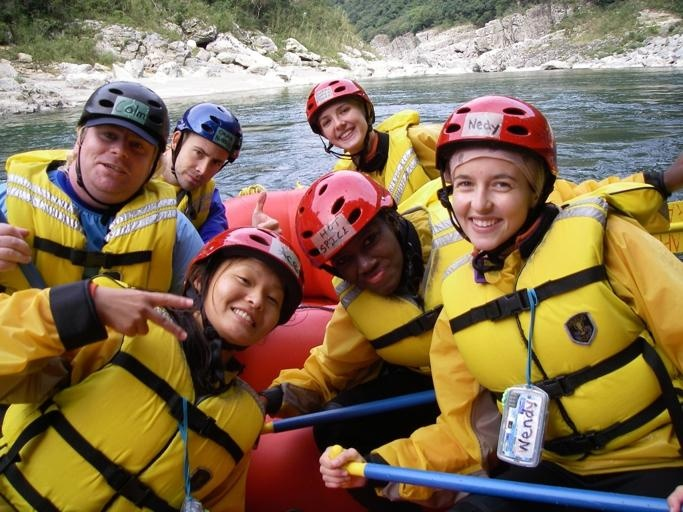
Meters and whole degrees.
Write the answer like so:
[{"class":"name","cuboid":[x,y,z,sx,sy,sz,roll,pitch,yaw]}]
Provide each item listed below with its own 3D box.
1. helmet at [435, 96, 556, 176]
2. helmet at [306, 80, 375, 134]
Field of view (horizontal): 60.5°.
[{"class":"helmet","cuboid":[0.698,-0.534,2.669,0.537,0.394,0.280,-7,16,10]},{"class":"helmet","cuboid":[-0.026,-1.331,5.032,0.418,0.476,0.360,-11,17,8]}]
